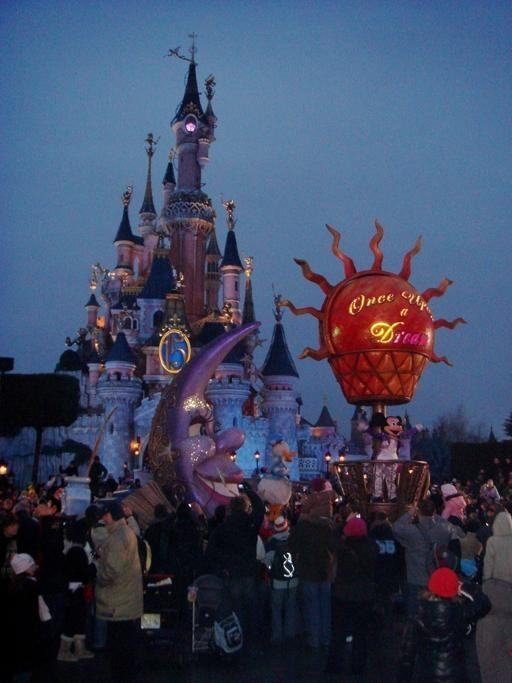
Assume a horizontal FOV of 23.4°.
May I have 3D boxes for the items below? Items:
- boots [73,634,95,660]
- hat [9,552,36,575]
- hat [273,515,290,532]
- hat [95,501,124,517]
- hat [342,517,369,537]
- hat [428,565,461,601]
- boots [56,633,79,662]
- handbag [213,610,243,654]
[{"bbox_3d":[-1.404,2.589,10.546,0.259,0.249,0.122,-1,-5,5],"label":"boots"},{"bbox_3d":[-1.697,1.613,8.960,0.163,0.158,0.323,1,-4,13],"label":"hat"},{"bbox_3d":[0.231,1.699,11.589,0.156,0.155,0.116,-25,-23,30],"label":"hat"},{"bbox_3d":[-1.126,1.327,9.817,0.171,0.132,0.325,2,-4,-5],"label":"hat"},{"bbox_3d":[0.833,1.546,10.384,0.153,0.104,0.201,-2,-7,1],"label":"hat"},{"bbox_3d":[1.276,1.639,8.442,0.201,0.205,0.226,1,-4,8],"label":"hat"},{"bbox_3d":[-1.581,2.582,10.507,0.251,0.284,0.144,0,-4,-3],"label":"boots"},{"bbox_3d":[-0.229,2.385,10.175,0.210,0.291,0.163,-16,5,-31],"label":"handbag"}]
